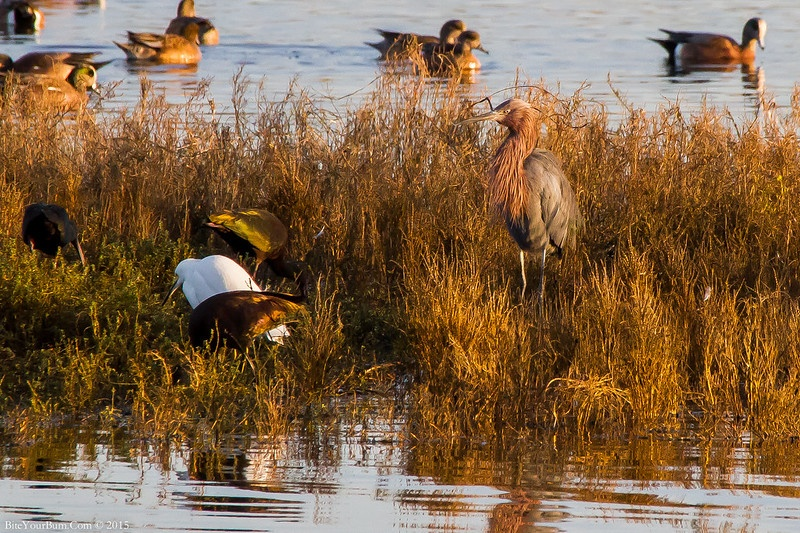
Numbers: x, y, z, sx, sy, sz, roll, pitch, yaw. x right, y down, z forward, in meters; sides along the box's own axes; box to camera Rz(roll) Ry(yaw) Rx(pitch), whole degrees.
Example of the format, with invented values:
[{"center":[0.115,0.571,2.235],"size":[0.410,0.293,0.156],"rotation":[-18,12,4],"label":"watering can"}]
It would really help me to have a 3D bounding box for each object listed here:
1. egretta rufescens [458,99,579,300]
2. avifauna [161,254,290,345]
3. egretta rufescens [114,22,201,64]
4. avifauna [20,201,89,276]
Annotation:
[{"center":[1.467,-0.756,16.553],"size":[1.108,2.248,0.611],"rotation":[1,3,1],"label":"egretta rufescens"},{"center":[-1.703,0.223,15.910],"size":[1.818,0.978,0.621],"rotation":[12,17,23],"label":"avifauna"},{"center":[-5.011,-4.581,30.579],"size":[1.772,1.283,0.939],"rotation":[5,7,-9],"label":"egretta rufescens"},{"center":[-3.901,-0.358,16.416],"size":[0.678,0.680,0.524],"rotation":[0,4,-17],"label":"avifauna"}]
